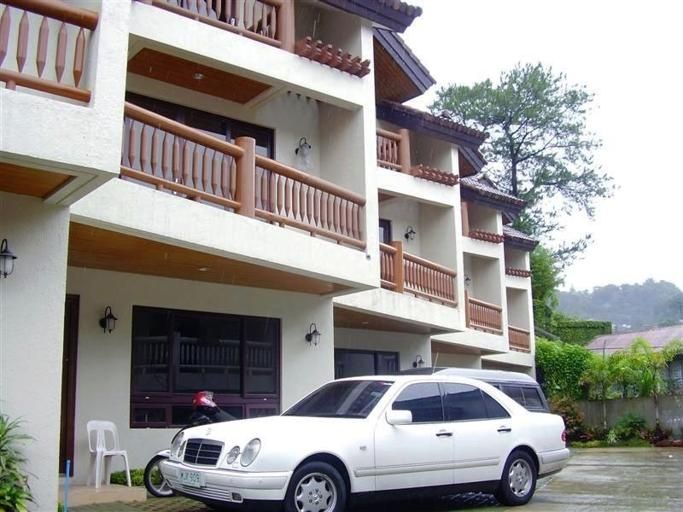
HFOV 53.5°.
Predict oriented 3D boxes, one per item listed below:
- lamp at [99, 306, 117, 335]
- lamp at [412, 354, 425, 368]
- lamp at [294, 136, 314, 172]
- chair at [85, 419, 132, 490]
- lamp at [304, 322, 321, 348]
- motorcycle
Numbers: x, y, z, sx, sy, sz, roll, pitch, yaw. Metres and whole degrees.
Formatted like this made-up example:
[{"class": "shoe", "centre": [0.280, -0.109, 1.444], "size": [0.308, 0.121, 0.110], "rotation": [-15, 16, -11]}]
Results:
[{"class": "lamp", "centre": [-4.229, 1.169, 12.379], "size": [0.319, 0.485, 0.186], "rotation": [4, -17, -26]}, {"class": "lamp", "centre": [2.234, 3.080, 19.791], "size": [0.376, 0.460, 0.307], "rotation": [2, -2, -34]}, {"class": "lamp", "centre": [-0.851, -2.399, 15.919], "size": [0.509, 0.851, 0.183], "rotation": [12, -21, -43]}, {"class": "chair", "centre": [-4.029, 3.417, 11.712], "size": [0.718, 1.150, 1.176], "rotation": [3, -18, -21]}, {"class": "lamp", "centre": [-0.605, 1.711, 14.849], "size": [0.356, 0.502, 0.143], "rotation": [9, -19, -36]}, {"class": "motorcycle", "centre": [-2.567, 3.111, 11.339], "size": [1.906, 1.315, 1.032], "rotation": [5, -22, -15]}]
